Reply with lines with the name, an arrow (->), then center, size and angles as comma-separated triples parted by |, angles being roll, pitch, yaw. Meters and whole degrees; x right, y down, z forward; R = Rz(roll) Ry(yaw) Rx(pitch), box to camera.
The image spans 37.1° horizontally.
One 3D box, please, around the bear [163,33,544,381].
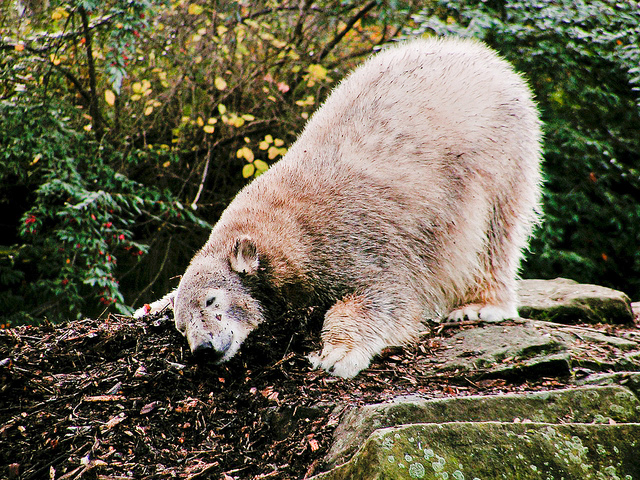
bear -> 0.573, -0.497, 9.943 | 3.591, 3.317, 1.557 | 1, 7, -22
